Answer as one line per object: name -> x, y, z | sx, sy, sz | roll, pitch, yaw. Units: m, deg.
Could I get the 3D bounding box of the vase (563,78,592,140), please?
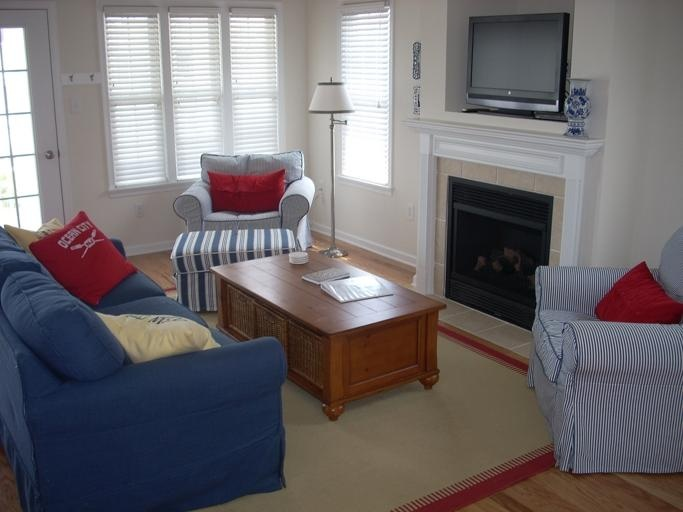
vase -> 1.591, -1.011, 3.632 | 0.172, 0.355, 0.183 | 2, 13, 21

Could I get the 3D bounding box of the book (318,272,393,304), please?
book -> 0.101, 0.215, 3.457 | 0.228, 0.043, 0.229 | -9, 24, -28

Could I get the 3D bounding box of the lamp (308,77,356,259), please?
lamp -> -0.094, -0.944, 5.694 | 0.431, 1.795, 0.827 | 0, 19, 1

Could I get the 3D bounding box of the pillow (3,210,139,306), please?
pillow -> -1.687, 0.026, 3.405 | 0.168, 0.579, 0.575 | -31, 12, 23

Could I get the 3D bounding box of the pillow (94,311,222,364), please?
pillow -> -0.799, 0.348, 2.369 | 0.328, 0.108, 0.293 | -1, 24, -34

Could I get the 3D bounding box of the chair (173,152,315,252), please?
chair -> -0.965, -0.502, 5.469 | 1.285, 1.051, 0.759 | -1, 15, -2
